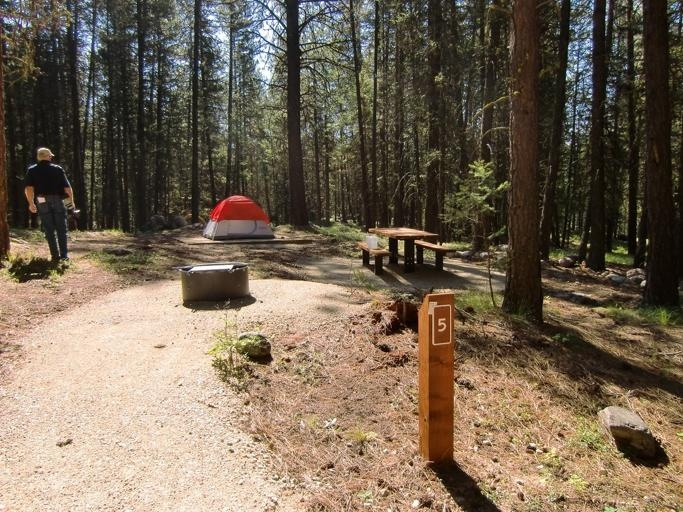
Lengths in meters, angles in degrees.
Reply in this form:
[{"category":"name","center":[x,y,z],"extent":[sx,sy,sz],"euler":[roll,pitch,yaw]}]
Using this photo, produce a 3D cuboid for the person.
[{"category":"person","center":[-6.569,-1.150,13.275],"extent":[0.949,2.530,1.128],"euler":[-4,9,-28]}]
